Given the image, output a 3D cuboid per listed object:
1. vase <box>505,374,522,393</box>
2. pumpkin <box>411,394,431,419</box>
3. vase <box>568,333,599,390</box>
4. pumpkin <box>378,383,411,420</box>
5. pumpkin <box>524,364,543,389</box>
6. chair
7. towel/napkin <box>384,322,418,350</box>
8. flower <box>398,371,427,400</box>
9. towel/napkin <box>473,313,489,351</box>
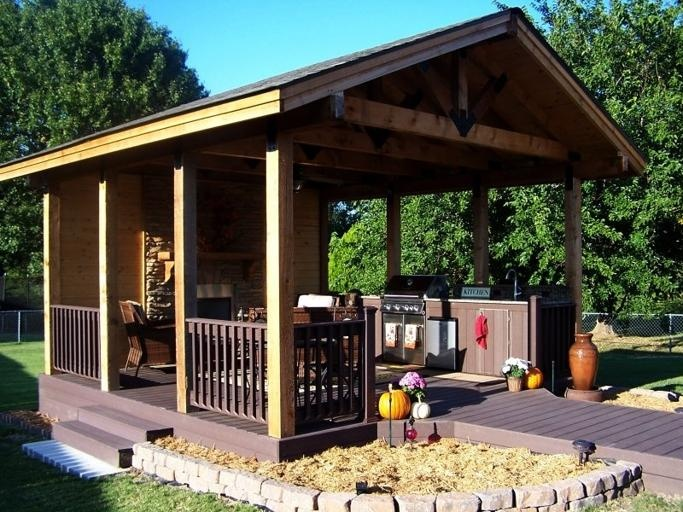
[{"bbox_3d":[2.454,1.821,9.701,0.186,0.169,0.203,0,-5,1],"label":"vase"},{"bbox_3d":[0.994,1.829,8.293,0.212,0.332,0.228,-7,-7,31],"label":"pumpkin"},{"bbox_3d":[3.605,1.596,10.146,0.394,0.954,0.467,1,11,20],"label":"vase"},{"bbox_3d":[0.607,1.745,8.281,0.371,0.415,0.384,-8,-9,38],"label":"pumpkin"},{"bbox_3d":[2.792,1.775,9.990,0.251,0.273,0.271,-11,3,-11],"label":"pumpkin"},{"bbox_3d":[-2.935,1.263,10.625,0.883,1.104,0.721,-1,-1,-41],"label":"chair"},{"bbox_3d":[1.041,1.363,11.694,0.059,0.343,0.441,-1,1,-42],"label":"towel/napkin"},{"bbox_3d":[0.885,1.621,8.510,0.314,0.372,0.330,-4,3,-14],"label":"flower"},{"bbox_3d":[2.203,1.193,10.715,0.188,0.588,0.214,0,11,12],"label":"towel/napkin"}]
